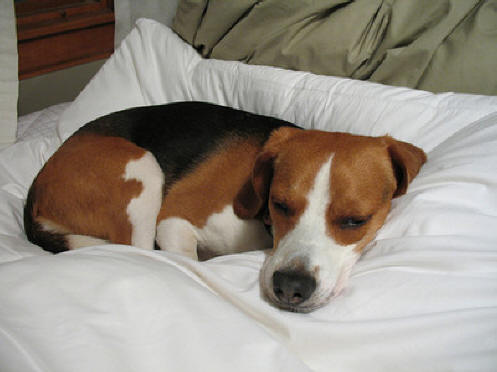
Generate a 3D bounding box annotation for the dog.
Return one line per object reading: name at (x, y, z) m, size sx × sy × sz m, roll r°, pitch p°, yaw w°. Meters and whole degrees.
dog at (-0.095, 0.020, 2.473) m, size 1.563 × 0.677 × 1.041 m, roll 22°, pitch 8°, yaw 16°
